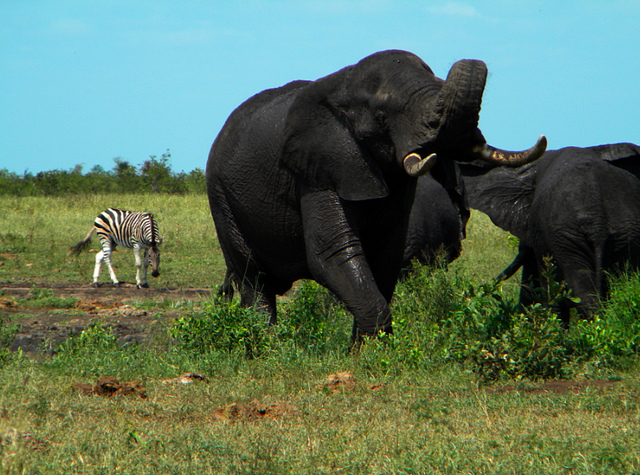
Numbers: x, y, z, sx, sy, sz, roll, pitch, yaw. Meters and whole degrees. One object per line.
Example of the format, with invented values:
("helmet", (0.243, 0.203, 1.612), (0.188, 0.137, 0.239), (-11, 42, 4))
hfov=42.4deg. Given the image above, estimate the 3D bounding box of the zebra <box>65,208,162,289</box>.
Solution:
("zebra", (-4.114, 0.318, 17.146), (1.741, 1.294, 3.015), (-9, 18, -21))
